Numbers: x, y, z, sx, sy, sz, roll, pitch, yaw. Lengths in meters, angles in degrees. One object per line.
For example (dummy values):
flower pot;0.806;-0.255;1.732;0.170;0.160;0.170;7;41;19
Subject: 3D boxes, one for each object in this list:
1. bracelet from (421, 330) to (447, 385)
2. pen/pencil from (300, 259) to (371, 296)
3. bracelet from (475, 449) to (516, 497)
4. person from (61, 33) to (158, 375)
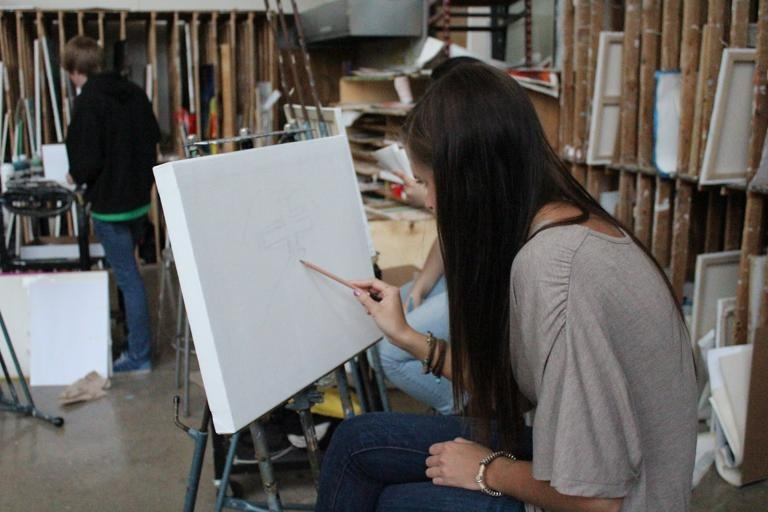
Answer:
bracelet;0.192;0.367;2.590;0.065;0.131;0.144;5;-7;5
pen/pencil;-0.200;0.087;2.739;0.325;0.026;0.024;22;-15;-15
bracelet;0.364;0.707;2.344;0.125;0.143;0.037;27;-2;-4
person;-1.586;-0.202;4.345;0.541;1.813;0.331;-9;14;-23
